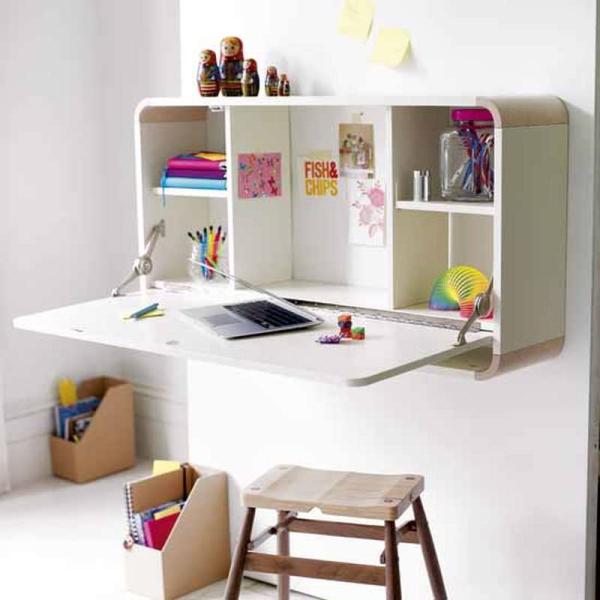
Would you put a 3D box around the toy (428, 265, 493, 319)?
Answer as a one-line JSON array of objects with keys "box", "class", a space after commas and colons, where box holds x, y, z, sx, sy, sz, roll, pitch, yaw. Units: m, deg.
[{"box": [0.373, -0.020, 1.443, 0.091, 0.104, 0.173, -5, 12, -18], "class": "toy"}]

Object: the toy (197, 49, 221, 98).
[{"box": [-0.265, -0.649, 1.839, 0.065, 0.128, 0.071, -3, 11, -6], "class": "toy"}]

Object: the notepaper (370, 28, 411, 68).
[{"box": [0.232, -0.654, 1.646, 0.025, 0.108, 0.091, -1, 7, -39], "class": "notepaper"}]

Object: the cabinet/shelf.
[{"box": [-0.037, -0.215, 1.560, 1.222, 0.622, 0.767, 9, 16, 41], "class": "cabinet/shelf"}]

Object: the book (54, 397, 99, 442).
[{"box": [-1.034, 0.559, 2.994, 0.221, 0.162, 0.174, -11, 14, -38], "class": "book"}]

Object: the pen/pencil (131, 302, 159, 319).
[{"box": [-0.403, 0.024, 1.641, 0.019, 0.018, 0.081, 8, 30, 23], "class": "pen/pencil"}]

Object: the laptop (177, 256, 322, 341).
[{"box": [-0.133, -0.003, 1.569, 0.293, 0.100, 0.414, -7, 13, -20], "class": "laptop"}]
